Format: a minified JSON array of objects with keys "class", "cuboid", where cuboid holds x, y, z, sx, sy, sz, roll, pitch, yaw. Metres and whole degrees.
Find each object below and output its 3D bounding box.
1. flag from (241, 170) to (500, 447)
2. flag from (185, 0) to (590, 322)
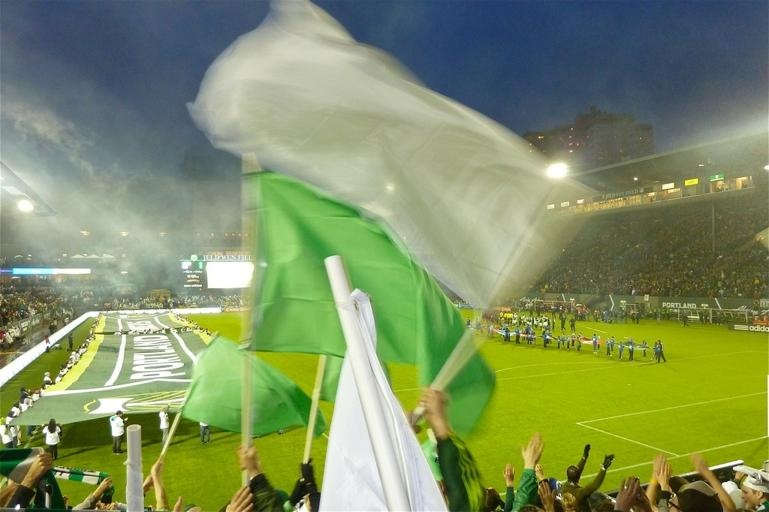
[{"class":"flag","cuboid":[-0.305,0.792,10.985,5.404,6.372,0.658,-11,0,-3]},{"class":"flag","cuboid":[0.256,-2.174,12.087,7.438,4.895,2.210,29,9,-9]}]
